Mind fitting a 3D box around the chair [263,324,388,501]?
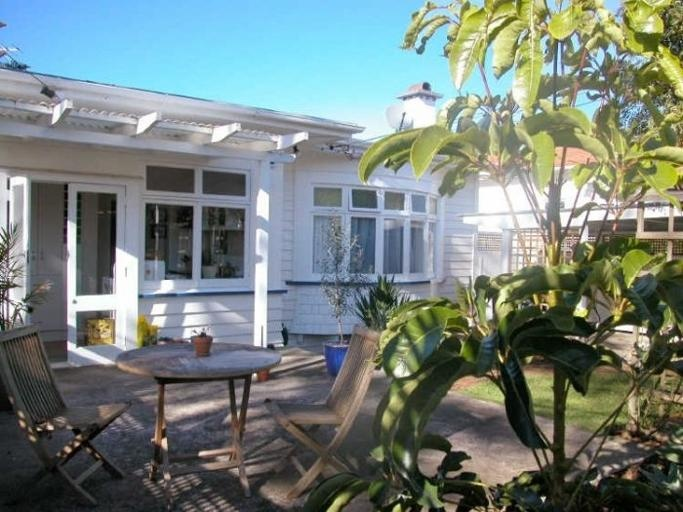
[{"bbox_3d":[-0.156,1.293,4.674,0.870,1.259,0.753,3,-3,-22],"label":"chair"}]
